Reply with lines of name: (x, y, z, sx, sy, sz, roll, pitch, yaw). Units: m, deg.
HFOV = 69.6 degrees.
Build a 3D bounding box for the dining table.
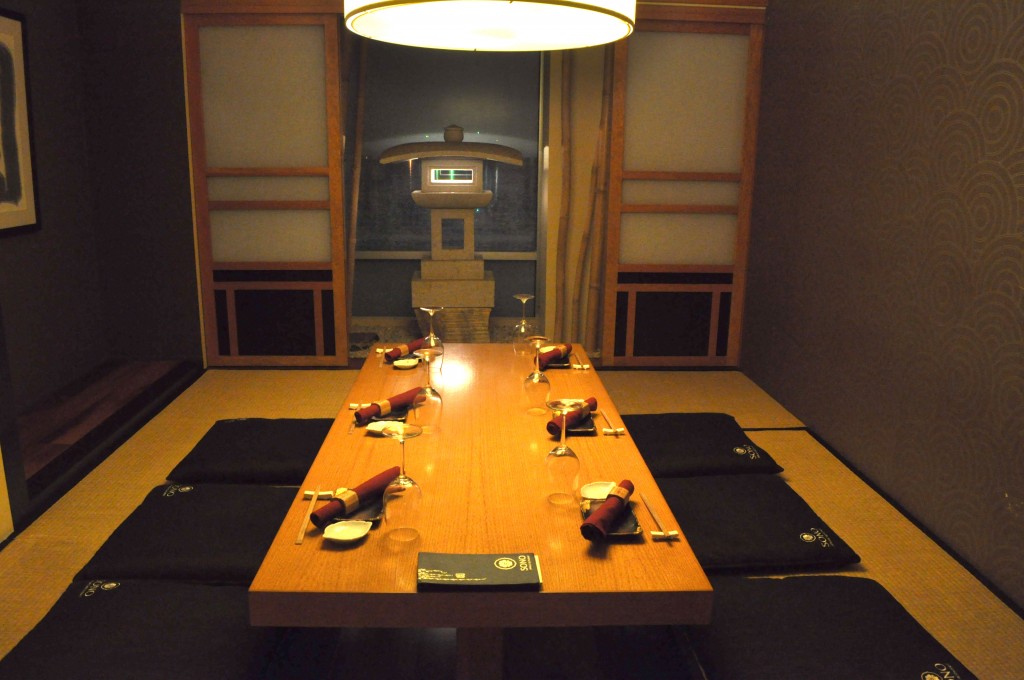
dining table: (-0.116, 0.568, 2.479, 1.073, 1.812, 0.401, 0, -78, -1)
